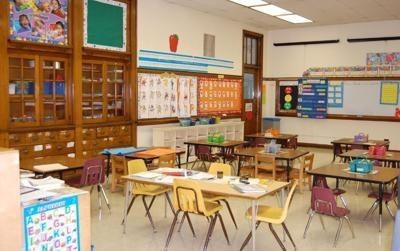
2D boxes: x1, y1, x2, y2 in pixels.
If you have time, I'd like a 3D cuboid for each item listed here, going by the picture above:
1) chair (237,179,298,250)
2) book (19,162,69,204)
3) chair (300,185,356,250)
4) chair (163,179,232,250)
[{"bbox_3d":[1.112,1.395,4.519,0.800,1.100,1.106,1,7,20],"label":"chair"},{"bbox_3d":[-2.047,0.727,3.710,0.797,0.174,0.727,5,8,37],"label":"book"},{"bbox_3d":[2.259,1.431,4.955,0.809,0.940,0.984,2,8,28],"label":"chair"},{"bbox_3d":[-0.065,1.340,4.585,1.034,1.176,0.871,-1,7,1],"label":"chair"}]
